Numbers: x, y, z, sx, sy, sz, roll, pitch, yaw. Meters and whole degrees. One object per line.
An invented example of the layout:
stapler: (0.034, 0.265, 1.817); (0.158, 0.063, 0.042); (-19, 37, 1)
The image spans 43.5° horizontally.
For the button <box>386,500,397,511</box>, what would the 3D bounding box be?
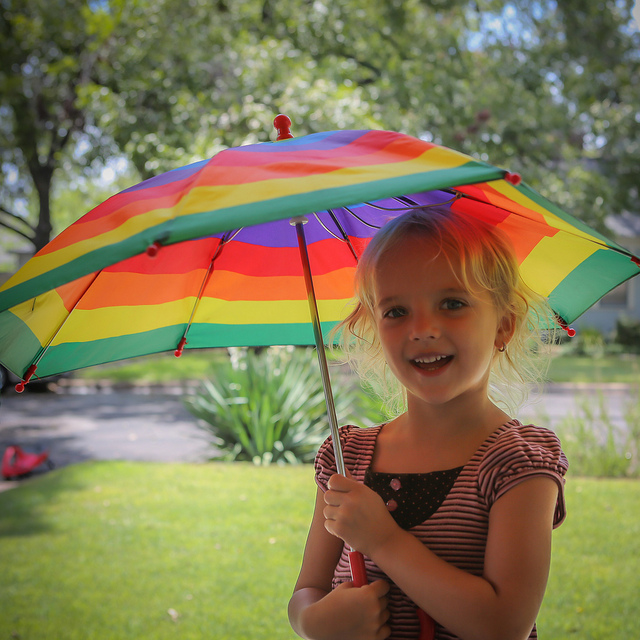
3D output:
button: (0.199, 0.506, 2.183); (0.029, 0.027, 0.017); (3, 3, 10)

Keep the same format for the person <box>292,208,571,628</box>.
person: (0.335, 0.265, 2.287); (0.739, 1.177, 0.607); (4, 3, 15)

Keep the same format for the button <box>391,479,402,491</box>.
button: (0.212, 0.454, 2.210); (0.016, 0.025, 0.031); (1, 3, -35)
